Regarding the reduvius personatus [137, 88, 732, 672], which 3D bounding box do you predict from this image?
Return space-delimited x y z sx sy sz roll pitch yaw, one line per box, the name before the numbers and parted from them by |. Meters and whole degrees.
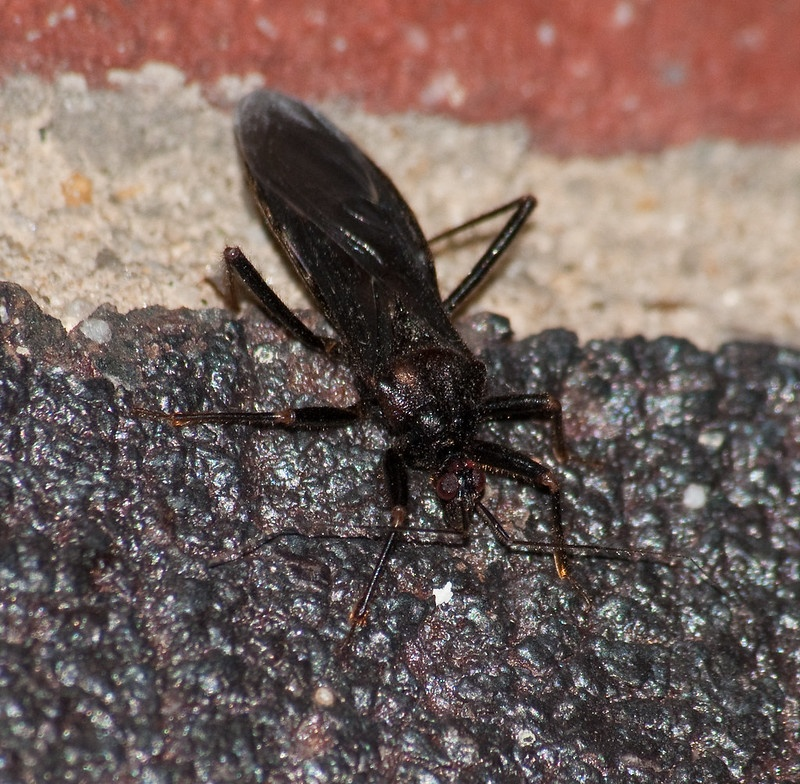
reduvius personatus | 0.012 -0.143 4.175 1.588 0.483 2.201 -10 65 -25
